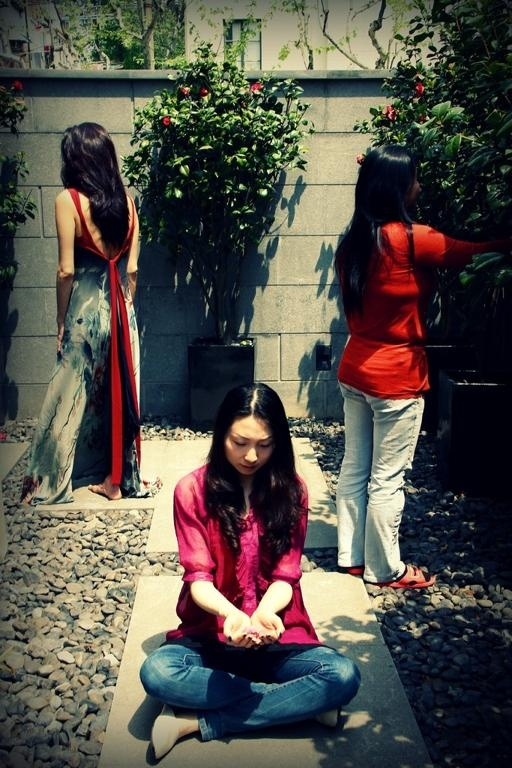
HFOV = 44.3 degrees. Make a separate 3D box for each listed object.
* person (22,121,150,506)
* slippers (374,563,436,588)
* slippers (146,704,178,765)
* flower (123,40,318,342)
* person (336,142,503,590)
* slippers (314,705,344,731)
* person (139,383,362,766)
[{"bbox_3d":[-0.880,-0.319,3.209,0.609,1.873,0.438,-3,11,-11],"label":"person"},{"bbox_3d":[0.602,0.761,2.494,0.247,0.106,0.094,1,4,0],"label":"slippers"},{"bbox_3d":[-0.223,0.834,1.497,0.040,0.046,0.115,31,37,-20],"label":"slippers"},{"bbox_3d":[-0.341,-1.274,4.428,1.101,1.719,1.115,-8,10,-39],"label":"flower"},{"bbox_3d":[0.523,-0.001,2.279,0.499,1.619,0.351,3,11,17],"label":"person"},{"bbox_3d":[0.188,0.847,1.584,0.058,0.049,0.063,-1,2,2],"label":"slippers"},{"bbox_3d":[-0.033,0.454,1.573,0.529,0.865,0.420,-4,11,-15],"label":"person"}]
